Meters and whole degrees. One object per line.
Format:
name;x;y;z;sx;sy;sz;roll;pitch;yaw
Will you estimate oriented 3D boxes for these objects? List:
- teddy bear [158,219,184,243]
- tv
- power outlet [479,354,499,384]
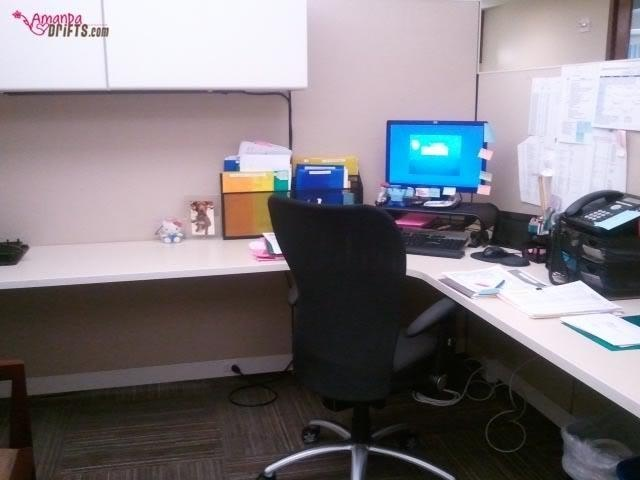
teddy bear;-0.834;-0.054;2.812;0.124;0.126;0.129;2;4;28
tv;0.642;-0.437;2.856;0.501;0.386;0.057;2;9;17
power outlet;1.011;0.774;3.026;0.079;0.151;0.145;-3;9;-9
